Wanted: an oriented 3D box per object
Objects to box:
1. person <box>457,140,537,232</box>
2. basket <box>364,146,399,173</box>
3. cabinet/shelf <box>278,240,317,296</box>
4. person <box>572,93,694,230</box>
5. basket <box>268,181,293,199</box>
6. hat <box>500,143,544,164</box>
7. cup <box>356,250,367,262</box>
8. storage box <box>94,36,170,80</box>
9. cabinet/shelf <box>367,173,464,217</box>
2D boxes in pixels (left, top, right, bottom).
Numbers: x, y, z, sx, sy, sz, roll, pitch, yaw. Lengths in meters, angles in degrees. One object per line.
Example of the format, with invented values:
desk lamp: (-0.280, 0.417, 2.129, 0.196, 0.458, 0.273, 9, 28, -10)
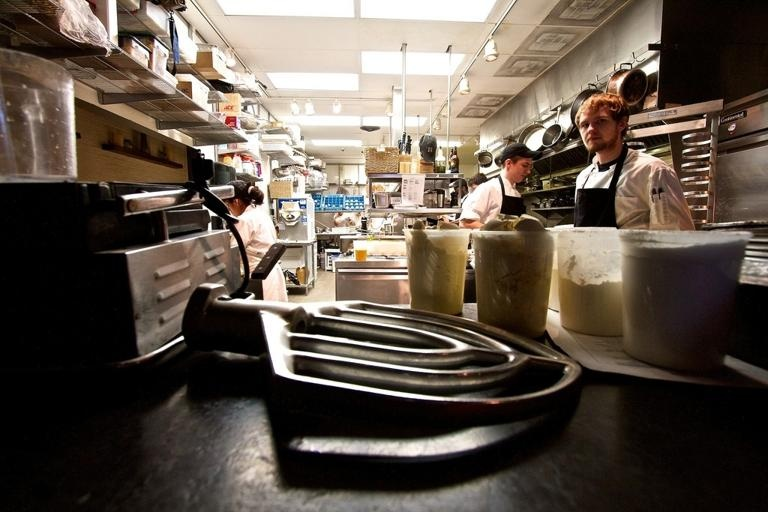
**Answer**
person: (1.065, -0.595, 4.129, 0.531, 0.782, 0.842, 16, 16, 42)
basket: (-0.021, -0.827, 4.042, 0.259, 0.153, 0.246, 0, 11, 0)
cabinet/shelf: (-1.108, 0.162, 5.903, 0.499, 0.576, 0.816, 0, 2, -2)
person: (1.375, -0.559, 2.707, 0.377, 0.785, 0.815, -2, 6, -9)
basket: (-1.617, -1.013, 7.339, 0.346, 0.191, 0.318, 0, -6, -8)
hat: (1.145, -0.867, 3.936, 0.289, 0.135, 0.181, -10, 10, 13)
cup: (-0.143, -0.001, 2.794, 0.074, 0.070, 0.070, 1, -1, 0)
storage box: (-1.400, -1.157, 2.671, 0.214, 0.175, 0.304, 1, 3, 2)
cabinet/shelf: (0.305, -0.602, 4.542, 0.640, 0.260, 0.610, 0, 0, -5)
